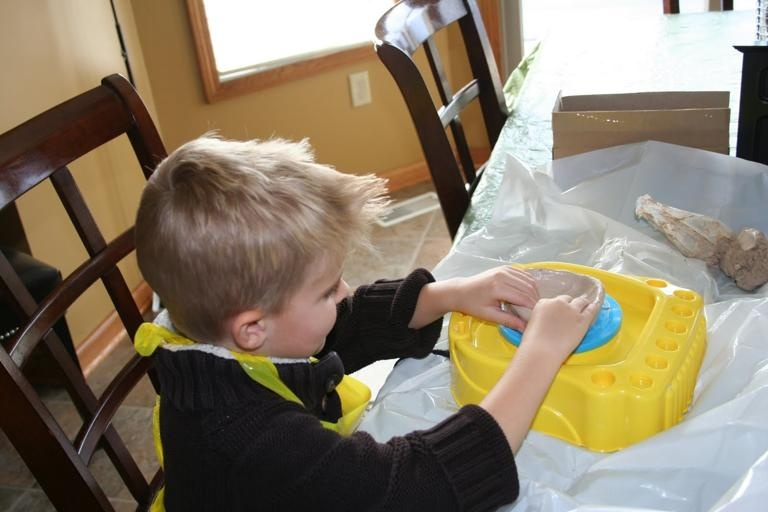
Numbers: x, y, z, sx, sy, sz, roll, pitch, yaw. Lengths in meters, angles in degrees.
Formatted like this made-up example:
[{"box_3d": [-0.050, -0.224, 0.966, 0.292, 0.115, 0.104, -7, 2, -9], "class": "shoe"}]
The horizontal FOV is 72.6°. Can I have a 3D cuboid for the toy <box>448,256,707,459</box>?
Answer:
[{"box_3d": [0.268, 0.145, 0.753, 0.294, 0.100, 0.242, 11, 41, 31], "class": "toy"}]
